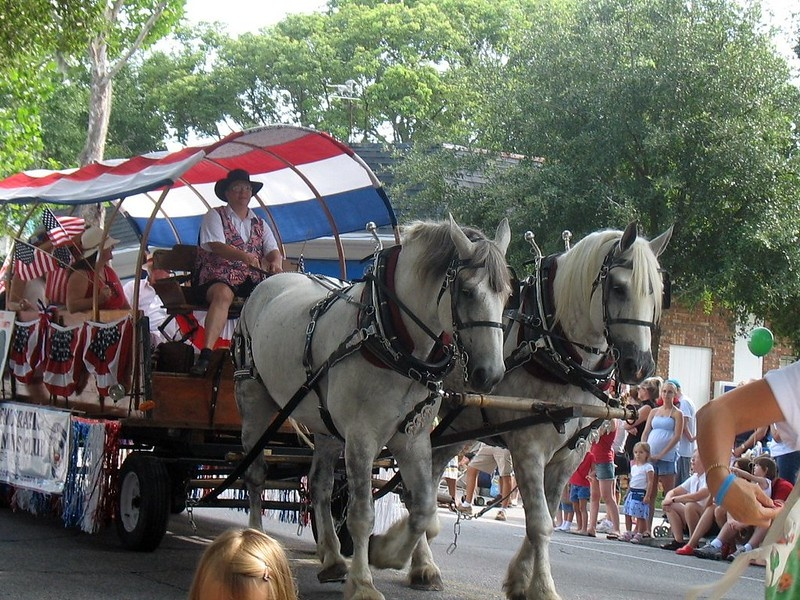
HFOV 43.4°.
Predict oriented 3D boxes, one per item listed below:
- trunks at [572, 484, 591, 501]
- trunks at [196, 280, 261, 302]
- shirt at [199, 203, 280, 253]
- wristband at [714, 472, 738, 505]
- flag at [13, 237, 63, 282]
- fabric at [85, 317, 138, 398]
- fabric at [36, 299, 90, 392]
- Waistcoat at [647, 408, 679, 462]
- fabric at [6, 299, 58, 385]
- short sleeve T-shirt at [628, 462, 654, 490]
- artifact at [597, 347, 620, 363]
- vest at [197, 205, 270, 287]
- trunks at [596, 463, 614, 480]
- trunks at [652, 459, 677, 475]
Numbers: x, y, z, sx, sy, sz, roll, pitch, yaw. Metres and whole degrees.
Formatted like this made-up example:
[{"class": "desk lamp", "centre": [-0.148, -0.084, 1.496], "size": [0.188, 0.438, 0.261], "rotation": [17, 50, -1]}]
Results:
[{"class": "trunks", "centre": [2.560, 2.729, 14.332], "size": [0.217, 0.203, 0.143], "rotation": [-13, -41, 44]}, {"class": "trunks", "centre": [-1.904, -0.119, 10.992], "size": [0.445, 0.149, 0.338], "rotation": [-2, -1, 25]}, {"class": "shirt", "centre": [-1.710, -0.785, 11.378], "size": [0.890, 0.685, 0.440], "rotation": [-1, -9, 7]}, {"class": "wristband", "centre": [2.065, 1.212, 6.454], "size": [0.044, 0.178, 0.186], "rotation": [32, 14, 16]}, {"class": "flag", "centre": [-4.267, -0.470, 11.865], "size": [0.556, 0.554, 0.073], "rotation": [0, 12, 4]}, {"class": "fabric", "centre": [-3.000, 0.597, 10.500], "size": [0.720, 0.942, 0.170], "rotation": [-11, -14, 35]}, {"class": "fabric", "centre": [-3.770, 0.511, 11.307], "size": [0.184, 1.063, 1.042], "rotation": [-1, 2, -44]}, {"class": "Waistcoat", "centre": [3.603, 1.874, 13.788], "size": [0.398, 0.665, 0.440], "rotation": [10, -10, -43]}, {"class": "fabric", "centre": [-4.288, 0.465, 11.781], "size": [0.127, 1.030, 1.010], "rotation": [8, -5, -40]}, {"class": "short sleeve T-shirt", "centre": [3.266, 2.394, 13.666], "size": [0.248, 0.422, 0.435], "rotation": [18, -18, -31]}, {"class": "artifact", "centre": [1.841, 0.494, 8.898], "size": [0.060, 0.155, 0.114], "rotation": [39, -41, 1]}, {"class": "vest", "centre": [-1.856, -0.569, 11.130], "size": [0.676, 0.853, 0.468], "rotation": [20, -32, -33]}, {"class": "trunks", "centre": [2.765, 2.319, 13.633], "size": [0.214, 0.200, 0.300], "rotation": [0, 1, 8]}, {"class": "trunks", "centre": [3.529, 2.262, 13.545], "size": [0.318, 0.227, 0.189], "rotation": [-1, -16, 24]}]
